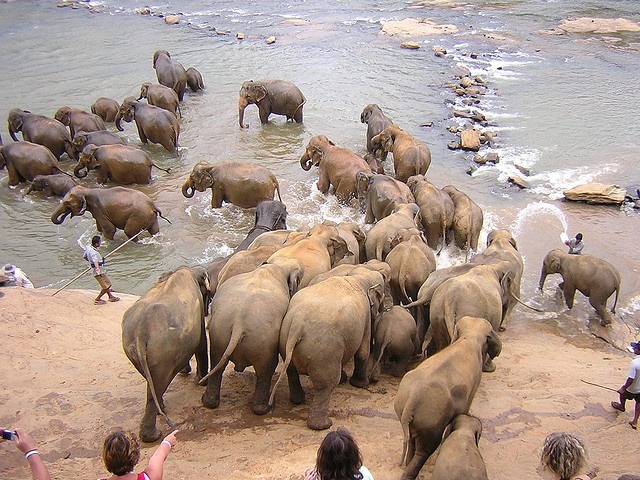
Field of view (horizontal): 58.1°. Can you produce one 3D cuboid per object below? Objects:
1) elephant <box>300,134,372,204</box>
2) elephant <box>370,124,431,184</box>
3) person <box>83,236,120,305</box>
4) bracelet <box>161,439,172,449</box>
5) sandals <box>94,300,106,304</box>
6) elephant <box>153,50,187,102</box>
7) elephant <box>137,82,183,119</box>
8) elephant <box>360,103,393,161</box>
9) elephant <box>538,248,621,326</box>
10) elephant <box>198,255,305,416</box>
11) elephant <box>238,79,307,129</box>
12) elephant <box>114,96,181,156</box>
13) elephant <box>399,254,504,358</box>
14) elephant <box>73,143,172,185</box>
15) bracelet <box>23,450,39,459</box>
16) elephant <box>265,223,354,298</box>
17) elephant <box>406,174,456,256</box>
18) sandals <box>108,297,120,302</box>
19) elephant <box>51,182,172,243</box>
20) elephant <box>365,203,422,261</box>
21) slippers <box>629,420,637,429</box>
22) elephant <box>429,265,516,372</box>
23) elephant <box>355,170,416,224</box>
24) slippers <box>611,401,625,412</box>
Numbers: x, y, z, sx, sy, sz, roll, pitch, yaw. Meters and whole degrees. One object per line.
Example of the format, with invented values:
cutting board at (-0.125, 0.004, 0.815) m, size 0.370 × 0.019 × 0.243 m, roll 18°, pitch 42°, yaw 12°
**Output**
elephant at (0.358, -1.662, 12.095) m, size 0.740 × 1.145 × 2.019 m, roll -17°, pitch 44°, yaw -32°
elephant at (1.740, -1.763, 12.330) m, size 0.672 × 1.098 × 1.847 m, roll -5°, pitch 33°, yaw -14°
person at (-3.570, 0.370, 9.324) m, size 0.369 × 0.989 × 1.229 m, roll -9°, pitch 28°, yaw -25°
bracelet at (-1.580, 2.096, 5.974) m, size 0.088 × 0.090 × 0.065 m, roll -51°, pitch 37°, yaw -13°
sandals at (-3.434, 0.978, 9.001) m, size 0.153 × 0.067 × 0.066 m, roll -2°, pitch 38°, yaw -7°
elephant at (-4.259, -4.628, 16.202) m, size 0.658 × 1.066 × 2.005 m, roll -17°, pitch 42°, yaw -22°
elephant at (-4.117, -3.503, 14.472) m, size 1.407 × 0.810 × 0.560 m, roll 25°, pitch 43°, yaw 22°
elephant at (1.249, -2.538, 13.369) m, size 0.578 × 0.867 × 1.465 m, roll -3°, pitch 46°, yaw -3°
elephant at (4.186, 0.702, 9.408) m, size 0.567 × 1.049 × 1.345 m, roll -23°, pitch 30°, yaw -38°
elephant at (-0.846, 1.100, 8.074) m, size 1.000 × 1.654 × 3.014 m, roll 12°, pitch 18°, yaw 8°
elephant at (-1.246, -3.378, 14.495) m, size 1.623 × 1.218 × 0.705 m, roll 1°, pitch 29°, yaw -3°
elephant at (-3.955, -2.607, 13.284) m, size 1.834 × 1.053 × 0.622 m, roll 21°, pitch 35°, yaw 16°
elephant at (2.088, 0.764, 8.114) m, size 0.743 × 1.025 × 1.918 m, roll 21°, pitch 36°, yaw 39°
elephant at (-4.002, -1.572, 11.830) m, size 1.663 × 0.913 × 0.785 m, roll 8°, pitch 49°, yaw 0°
bracelet at (-2.960, 2.192, 5.888) m, size 0.092 × 0.095 × 0.035 m, roll -35°, pitch 74°, yaw 11°
elephant at (-0.130, 0.180, 8.292) m, size 0.627 × 0.732 × 1.285 m, roll 19°, pitch 44°, yaw 20°
elephant at (2.040, -0.574, 10.877) m, size 0.656 × 1.119 × 2.026 m, roll -6°, pitch 31°, yaw -9°
sandals at (-3.233, 0.941, 9.084) m, size 0.142 × 0.063 × 0.053 m, roll -5°, pitch 59°, yaw -11°
elephant at (-3.812, -0.453, 10.437) m, size 2.025 × 1.119 × 0.650 m, roll 5°, pitch 36°, yaw -15°
elephant at (1.198, -0.217, 9.557) m, size 0.498 × 0.646 × 1.313 m, roll 22°, pitch 55°, yaw 25°
slippers at (3.901, 2.315, 7.185) m, size 0.035 × 0.044 × 0.106 m, roll -7°, pitch -3°, yaw 10°
elephant at (2.016, 0.920, 7.765) m, size 0.698 × 1.011 × 1.826 m, roll 10°, pitch 33°, yaw 27°
elephant at (1.113, -0.765, 10.619) m, size 0.547 × 0.769 × 1.427 m, roll -9°, pitch 31°, yaw -14°
slippers at (3.801, 2.135, 7.371) m, size 0.148 × 0.061 × 0.079 m, roll 24°, pitch 61°, yaw 36°
